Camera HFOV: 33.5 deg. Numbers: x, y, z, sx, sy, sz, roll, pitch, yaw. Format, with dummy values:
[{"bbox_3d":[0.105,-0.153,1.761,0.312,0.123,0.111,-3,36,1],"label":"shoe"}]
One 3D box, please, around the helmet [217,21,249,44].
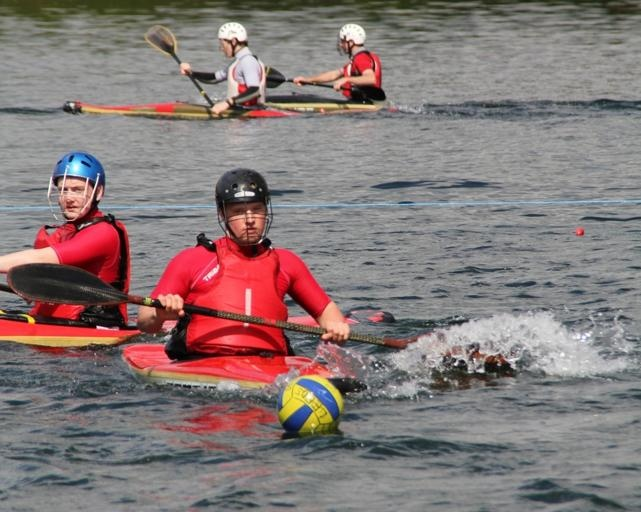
[{"bbox_3d":[-1.768,-4.473,21.223,0.503,0.398,0.421,-2,7,-8],"label":"helmet"}]
